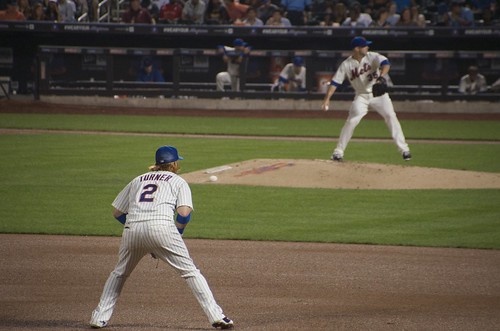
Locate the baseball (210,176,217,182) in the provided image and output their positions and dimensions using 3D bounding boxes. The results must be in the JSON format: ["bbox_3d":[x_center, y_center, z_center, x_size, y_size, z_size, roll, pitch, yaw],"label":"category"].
[{"bbox_3d":[-1.390,0.503,47.584,0.254,0.211,0.220,-2,13,42],"label":"baseball"}]

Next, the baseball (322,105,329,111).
[{"bbox_3d":[2.910,-2.323,48.133,0.294,0.278,0.107,5,-7,3],"label":"baseball"}]
